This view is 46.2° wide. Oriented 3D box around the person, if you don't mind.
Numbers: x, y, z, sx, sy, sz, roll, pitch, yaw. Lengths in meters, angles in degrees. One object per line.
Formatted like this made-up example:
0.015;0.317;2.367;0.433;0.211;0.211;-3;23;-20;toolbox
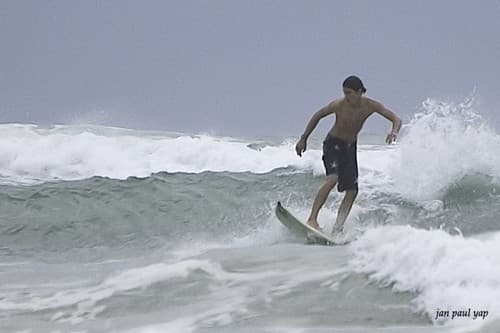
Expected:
1.023;-0.114;6.255;1.053;1.696;0.601;5;1;4;person
